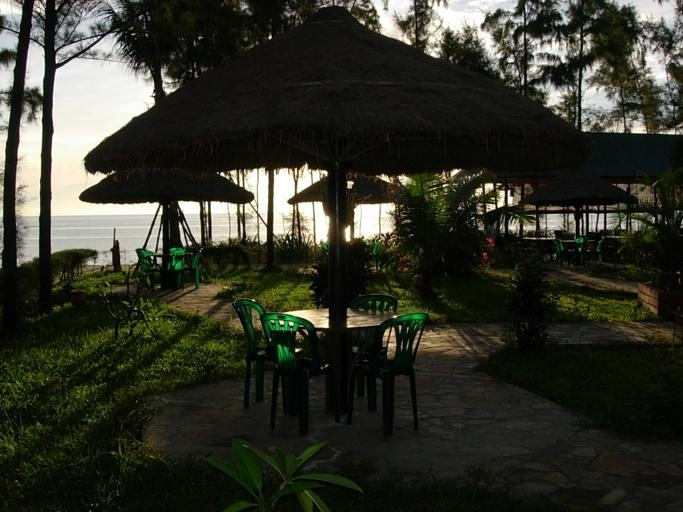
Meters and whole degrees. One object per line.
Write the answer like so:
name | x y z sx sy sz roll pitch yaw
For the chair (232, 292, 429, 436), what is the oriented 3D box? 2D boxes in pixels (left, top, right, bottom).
chair | -0.083 1.225 7.807 1.928 1.314 1.866 -4 7 -27
